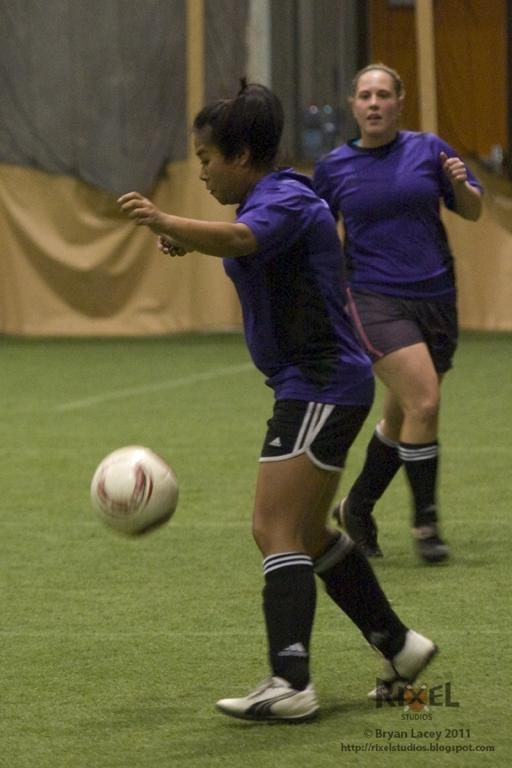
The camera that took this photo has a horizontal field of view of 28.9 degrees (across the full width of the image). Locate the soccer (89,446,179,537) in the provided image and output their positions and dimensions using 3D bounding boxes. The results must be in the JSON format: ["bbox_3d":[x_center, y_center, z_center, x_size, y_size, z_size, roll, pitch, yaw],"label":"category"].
[{"bbox_3d":[-0.293,0.263,2.447,0.227,0.225,0.231,-7,-12,42],"label":"soccer"}]

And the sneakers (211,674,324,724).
[{"bbox_3d":[0.037,0.669,2.114,0.266,0.104,0.081,2,-7,0],"label":"sneakers"}]

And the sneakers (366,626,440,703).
[{"bbox_3d":[0.325,0.639,2.254,0.094,0.111,0.256,5,-39,-33],"label":"sneakers"}]

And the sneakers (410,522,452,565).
[{"bbox_3d":[0.656,0.608,3.743,0.109,0.109,0.178,-1,-12,-12],"label":"sneakers"}]

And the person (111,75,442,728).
[{"bbox_3d":[0.020,0.023,2.175,0.636,1.414,0.352,-3,3,-30],"label":"person"}]
